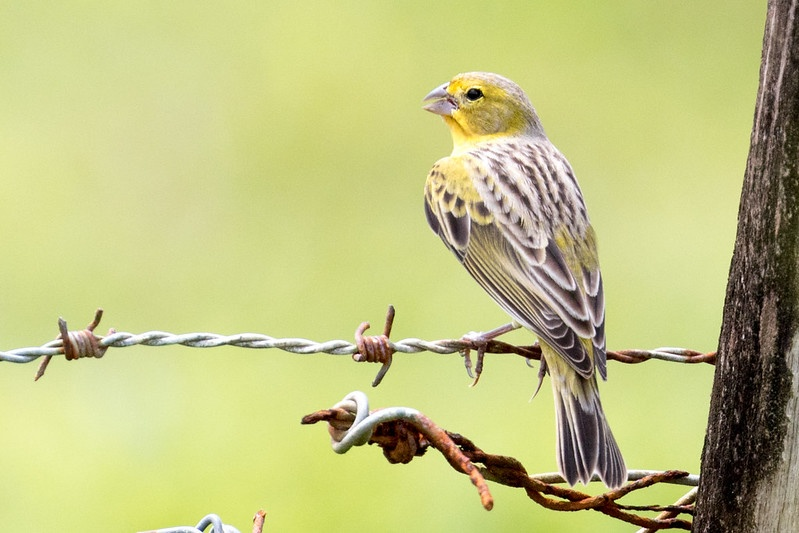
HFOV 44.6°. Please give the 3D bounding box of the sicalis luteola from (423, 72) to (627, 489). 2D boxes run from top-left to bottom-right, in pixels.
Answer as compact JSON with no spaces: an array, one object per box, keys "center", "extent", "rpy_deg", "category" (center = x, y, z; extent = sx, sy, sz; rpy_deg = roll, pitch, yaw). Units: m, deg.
[{"center":[0.847,-0.040,6.205],"extent":[0.882,2.074,2.159],"rpy_deg":[-1,-74,-28],"category":"sicalis luteola"}]
